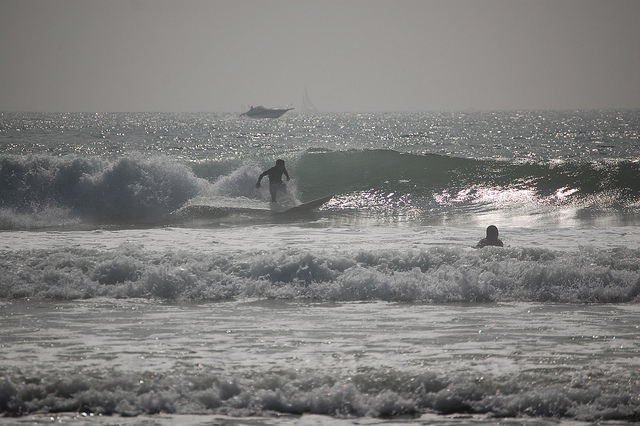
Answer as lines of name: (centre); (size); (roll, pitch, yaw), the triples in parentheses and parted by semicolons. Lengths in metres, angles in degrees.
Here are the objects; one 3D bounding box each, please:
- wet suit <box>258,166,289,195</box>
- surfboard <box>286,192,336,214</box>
wet suit: (-1.286, -0.904, 28.447); (0.484, 0.794, 1.025); (3, 4, 39)
surfboard: (-0.170, -0.219, 28.322); (0.402, 0.263, 2.031); (24, 29, 31)
